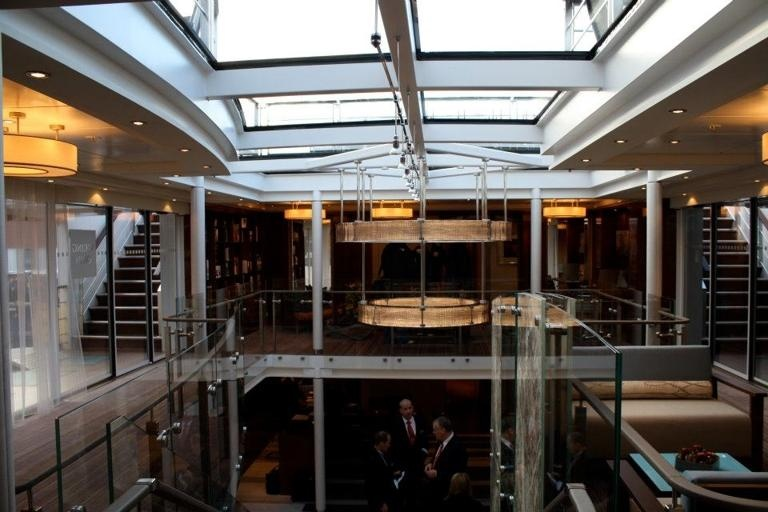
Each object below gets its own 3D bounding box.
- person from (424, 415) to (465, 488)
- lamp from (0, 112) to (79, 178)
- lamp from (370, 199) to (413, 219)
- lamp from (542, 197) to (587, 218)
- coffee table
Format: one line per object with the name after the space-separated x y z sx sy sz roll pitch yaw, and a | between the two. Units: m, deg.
0.971 3.088 9.661 0.662 1.127 0.723 -1 -1 2 | person
-3.492 -1.117 6.161 0.605 0.599 0.777 -1 -1 -32 | lamp
0.165 -1.061 13.455 0.907 0.226 0.892 0 -1 3 | lamp
4.079 -1.084 13.510 0.851 0.207 0.853 0 0 25 | lamp
3.204 2.263 6.509 1.168 0.302 0.690 -1 -1 -22 | coffee table
